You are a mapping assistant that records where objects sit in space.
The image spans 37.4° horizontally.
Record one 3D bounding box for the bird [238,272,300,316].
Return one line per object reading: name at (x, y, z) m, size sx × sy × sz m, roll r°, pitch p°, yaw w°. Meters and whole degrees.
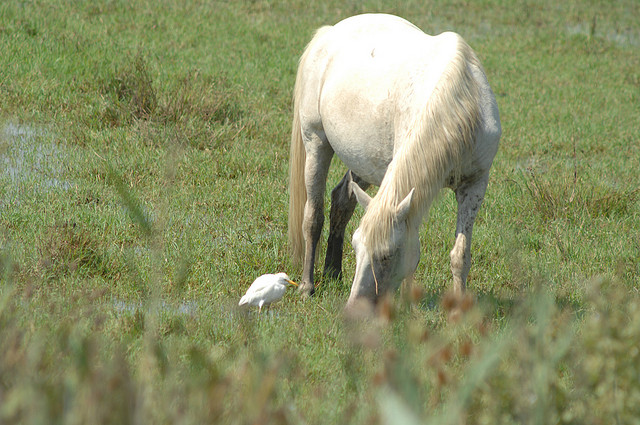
bird at (-0.596, 0.877, 10.416) m, size 0.313 × 0.195 × 0.667 m, roll 36°, pitch 60°, yaw 16°
